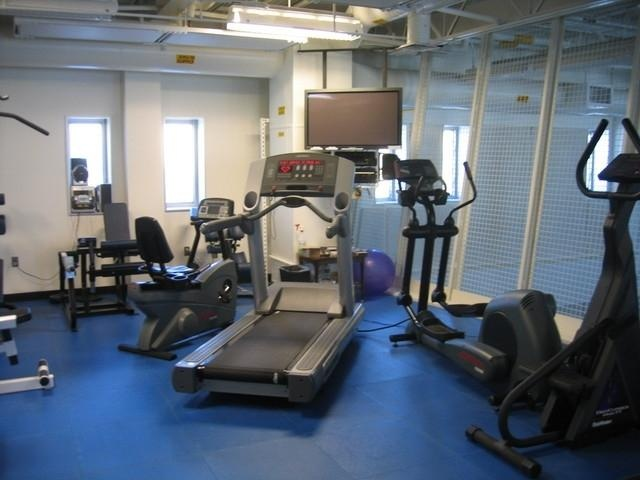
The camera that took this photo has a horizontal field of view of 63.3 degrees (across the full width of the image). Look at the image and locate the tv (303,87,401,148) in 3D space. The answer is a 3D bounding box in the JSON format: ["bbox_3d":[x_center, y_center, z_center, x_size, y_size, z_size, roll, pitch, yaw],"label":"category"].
[{"bbox_3d":[0.455,-1.683,7.211,1.334,0.810,0.150,2,13,8],"label":"tv"}]

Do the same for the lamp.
[{"bbox_3d":[-0.287,-2.586,6.232,1.645,0.264,0.669,-3,12,-14],"label":"lamp"}]

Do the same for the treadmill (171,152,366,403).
[{"bbox_3d":[-0.405,0.258,4.926,1.281,2.119,1.965,3,13,16],"label":"treadmill"}]

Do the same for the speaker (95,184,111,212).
[{"bbox_3d":[-3.210,-0.616,7.738,0.223,0.415,0.233,-6,14,-23],"label":"speaker"}]
